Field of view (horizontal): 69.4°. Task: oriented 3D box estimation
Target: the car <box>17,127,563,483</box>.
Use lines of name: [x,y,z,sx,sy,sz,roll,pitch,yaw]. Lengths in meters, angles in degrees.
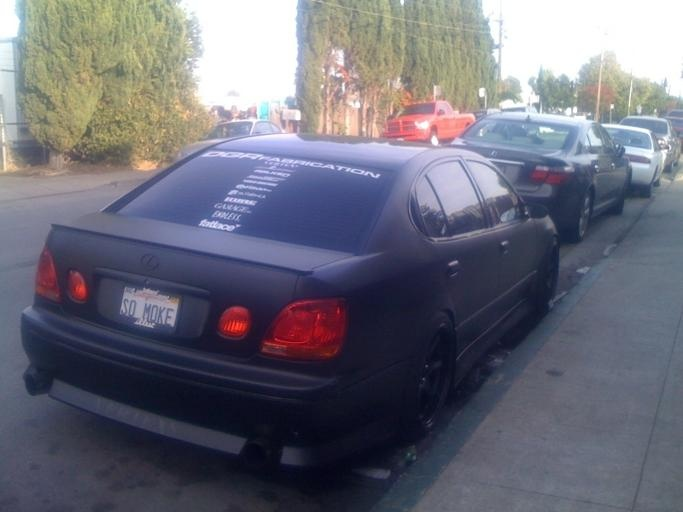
car: [-0.134,0.167,3.462,3.685,1.901,1.810,-10,16,-37]
